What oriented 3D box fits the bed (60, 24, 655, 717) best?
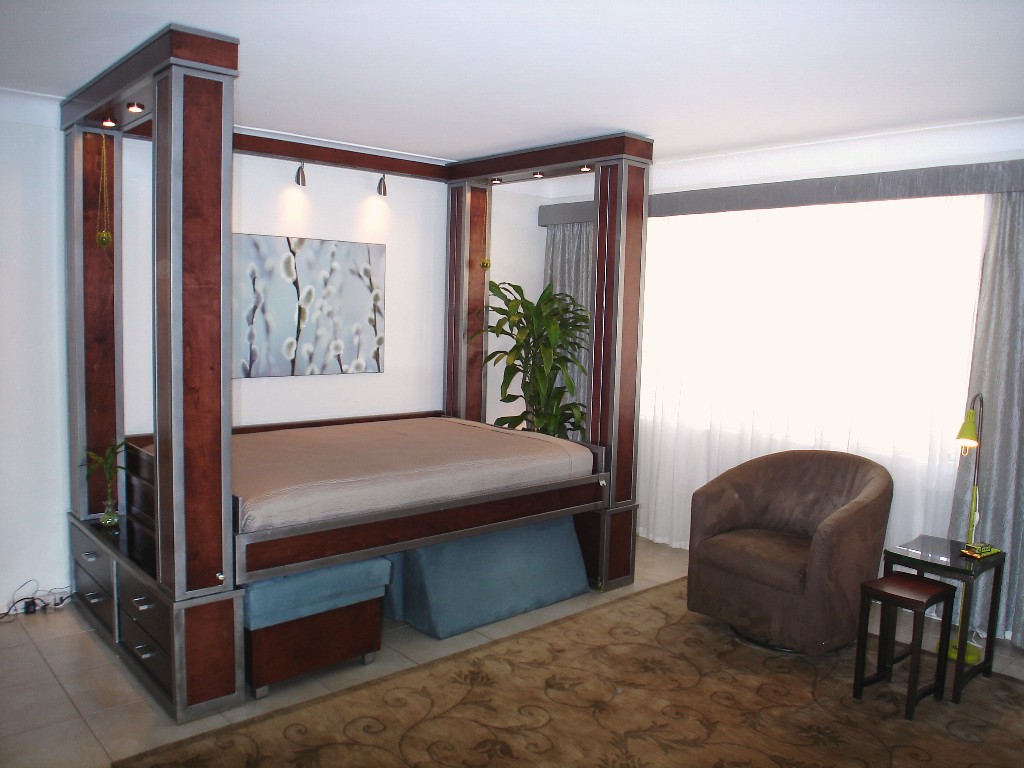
[{"bbox_3d":[-1.177,-0.221,5.561,2.695,3.468,3.609,12,11,37],"label":"bed"}]
